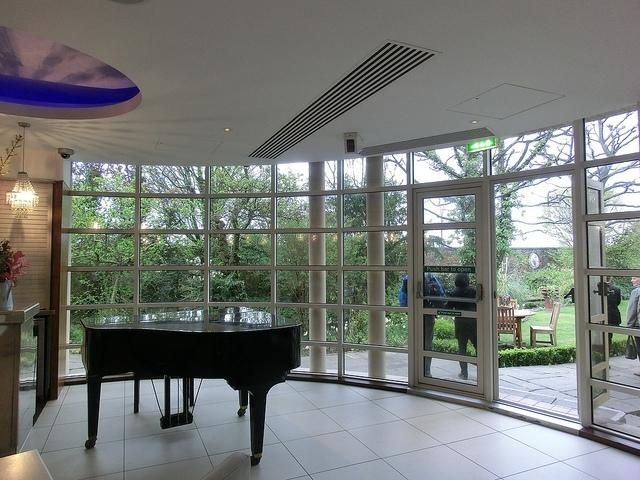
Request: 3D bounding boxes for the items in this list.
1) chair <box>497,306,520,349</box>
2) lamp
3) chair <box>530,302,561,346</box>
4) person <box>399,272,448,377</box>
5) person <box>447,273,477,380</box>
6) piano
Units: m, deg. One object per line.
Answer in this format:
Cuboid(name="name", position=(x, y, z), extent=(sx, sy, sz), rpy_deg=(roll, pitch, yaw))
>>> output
Cuboid(name="chair", position=(3.273, 1.491, 7.706), extent=(0.356, 0.686, 0.237), rpy_deg=(2, 5, 24))
Cuboid(name="lamp", position=(-3.397, -0.753, 5.106), extent=(0.309, 0.986, 1.129), rpy_deg=(-3, 5, -31))
Cuboid(name="chair", position=(3.898, 1.494, 7.801), extent=(0.613, 0.715, 0.571), rpy_deg=(1, -3, -11))
Cuboid(name="person", position=(1.313, 1.072, 5.805), extent=(0.577, 1.310, 0.148), rpy_deg=(3, 6, 42))
Cuboid(name="person", position=(1.765, 1.052, 5.511), extent=(0.371, 1.293, 0.110), rpy_deg=(4, 6, 44))
Cuboid(name="piano", position=(-1.317, 1.548, 4.933), extent=(2.058, 1.129, 2.204), rpy_deg=(9, -10, -17))
